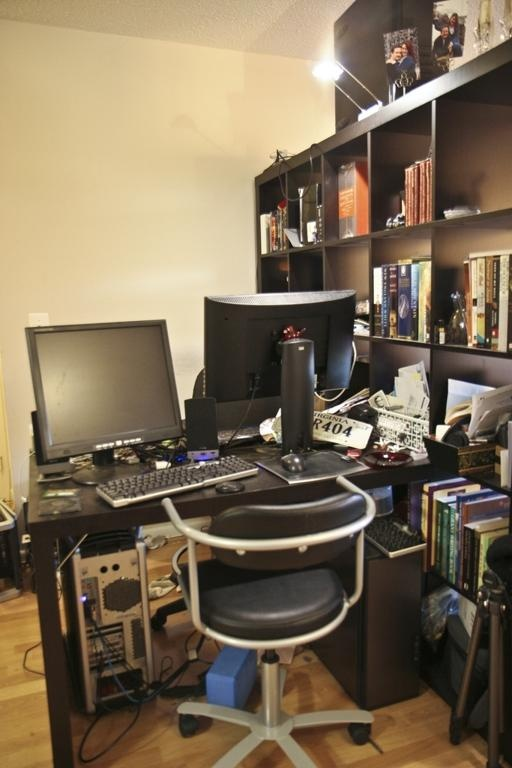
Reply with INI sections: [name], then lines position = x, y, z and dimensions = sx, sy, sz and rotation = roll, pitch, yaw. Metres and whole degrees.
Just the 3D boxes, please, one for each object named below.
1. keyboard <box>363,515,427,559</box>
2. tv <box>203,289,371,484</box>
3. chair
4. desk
[keyboard]
position = 0.435, 0.481, 1.897
dimensions = 0.172, 0.062, 0.239
rotation = 0, 17, -9
[tv]
position = 0.087, 0.021, 1.938
dimensions = 0.535, 0.537, 0.193
rotation = -8, 28, -18
[chair]
position = 0.054, 0.652, 1.635
dimensions = 0.529, 0.795, 0.556
rotation = -5, 21, -18
[desk]
position = -0.281, 0.411, 1.888
dimensions = 0.801, 0.653, 0.856
rotation = -6, 11, -12
